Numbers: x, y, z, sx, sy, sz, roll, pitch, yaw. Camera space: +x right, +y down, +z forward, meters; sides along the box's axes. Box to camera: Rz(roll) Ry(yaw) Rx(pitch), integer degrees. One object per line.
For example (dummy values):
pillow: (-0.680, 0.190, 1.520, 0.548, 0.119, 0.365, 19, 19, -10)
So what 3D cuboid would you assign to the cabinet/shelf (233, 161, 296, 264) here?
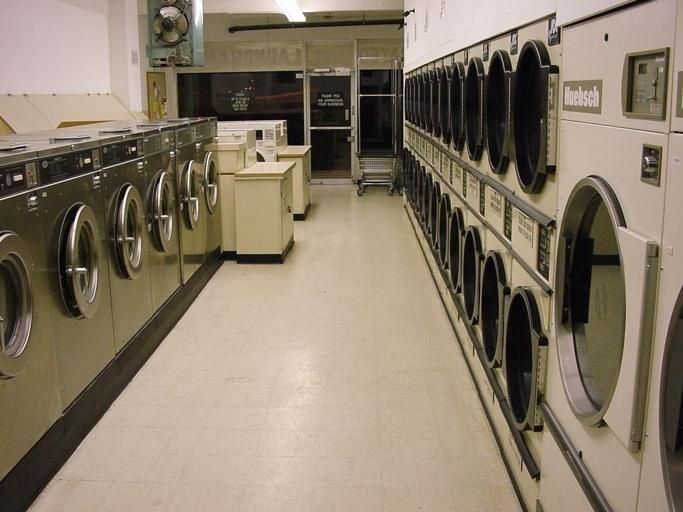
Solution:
cabinet/shelf: (-1.036, -0.600, 6.606, 0.656, 1.176, 0.822, 1, 14, 6)

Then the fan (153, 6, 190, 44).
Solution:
fan: (-2.095, -2.826, 6.030, 0.435, 0.456, 0.132, 2, 13, 9)

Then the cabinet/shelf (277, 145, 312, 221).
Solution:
cabinet/shelf: (-0.753, -1.164, 7.882, 0.411, 1.110, 1.182, 0, 16, 4)
